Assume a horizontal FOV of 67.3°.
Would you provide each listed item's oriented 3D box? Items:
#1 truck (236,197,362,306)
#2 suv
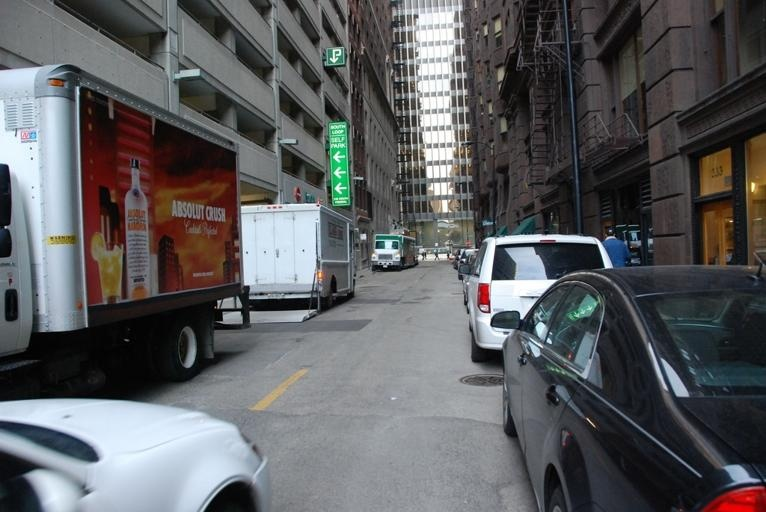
[{"bbox_3d":[-2.564,-0.012,18.454,2.344,3.351,3.632,0,4,16],"label":"truck"},{"bbox_3d":[2.160,0.593,9.390,1.399,1.402,2.795,-1,5,3],"label":"suv"}]
